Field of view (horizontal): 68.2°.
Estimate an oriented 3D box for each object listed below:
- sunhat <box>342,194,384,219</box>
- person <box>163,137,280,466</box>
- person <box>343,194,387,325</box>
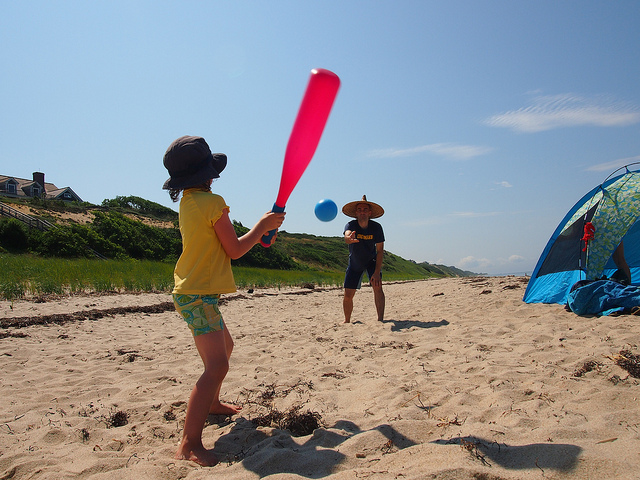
[{"bbox_3d":[0.748,-0.557,7.760,0.587,0.390,0.859,3,1,-13],"label":"sunhat"},{"bbox_3d":[-0.909,0.444,3.861,0.814,2.544,0.741,3,0,-26],"label":"person"},{"bbox_3d":[0.713,0.317,7.538,0.777,2.121,1.098,3,0,2],"label":"person"}]
